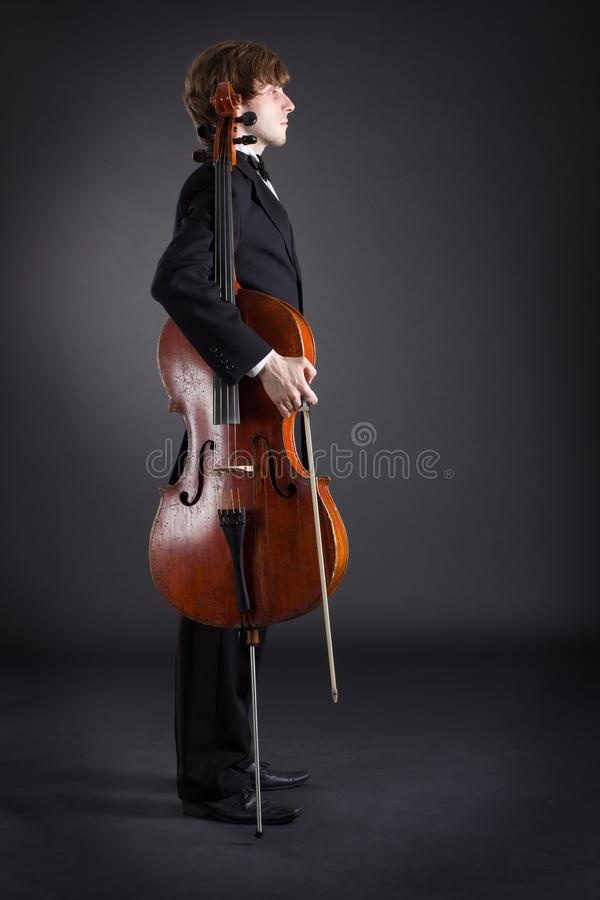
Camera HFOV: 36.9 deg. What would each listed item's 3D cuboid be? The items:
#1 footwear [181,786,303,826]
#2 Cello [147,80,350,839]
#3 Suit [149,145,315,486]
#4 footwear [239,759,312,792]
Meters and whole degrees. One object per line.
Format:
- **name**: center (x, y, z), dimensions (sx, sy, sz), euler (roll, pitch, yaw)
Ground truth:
- **footwear**: center (-0.148, 0.863, 2.215), dimensions (0.299, 0.107, 0.097), euler (-1, -16, 7)
- **Cello**: center (-0.109, 0.055, 1.959), dimensions (0.421, 1.686, 0.396), euler (1, 3, 6)
- **Suit**: center (-0.134, -0.294, 2.049), dimensions (0.412, 0.728, 0.225), euler (-4, 0, 21)
- **footwear**: center (-0.055, 0.851, 2.367), dimensions (0.216, 0.075, 0.070), euler (2, -11, -18)
